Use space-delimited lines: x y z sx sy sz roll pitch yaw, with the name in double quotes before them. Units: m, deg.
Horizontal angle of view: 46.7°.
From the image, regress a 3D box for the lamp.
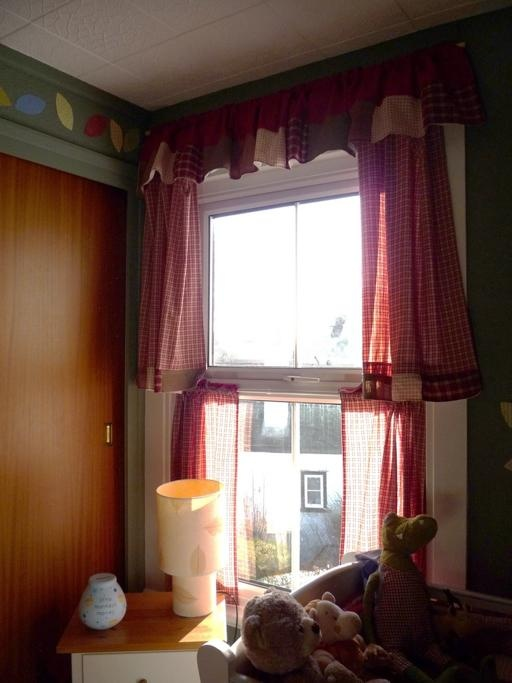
"lamp" -0.210 0.682 1.926 0.208 0.390 0.227 -5 -4 40
